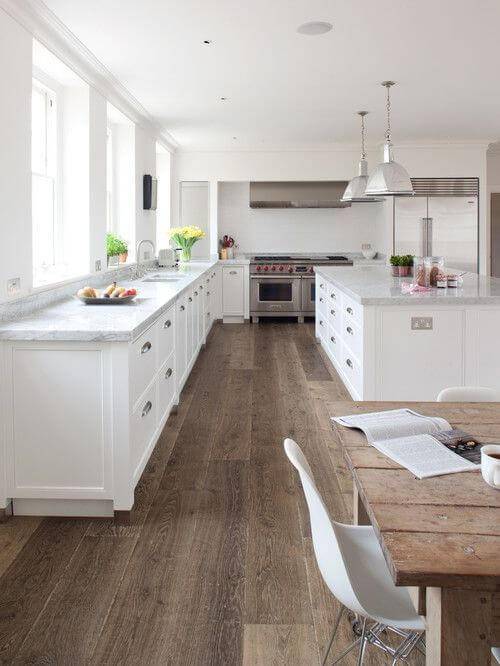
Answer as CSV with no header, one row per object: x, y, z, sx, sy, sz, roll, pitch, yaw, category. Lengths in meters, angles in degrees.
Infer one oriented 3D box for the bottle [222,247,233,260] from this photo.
-0.340,-1.204,7.887,0.162,0.167,0.167,0,8,-2,bottle

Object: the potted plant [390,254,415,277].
1.401,-0.629,4.779,0.204,0.165,0.208,0,12,4,potted plant

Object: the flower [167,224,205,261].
-0.761,-1.034,6.058,0.348,0.385,0.507,-2,7,-9,flower

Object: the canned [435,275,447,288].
1.345,-0.364,3.658,0.078,0.091,0.064,1,2,3,canned

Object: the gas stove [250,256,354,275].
0.709,-1.020,7.806,1.420,0.279,0.697,0,7,3,gas stove

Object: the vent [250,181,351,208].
0.712,-2.071,7.754,1.438,0.385,0.108,0,7,6,vent

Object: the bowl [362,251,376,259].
1.835,-1.218,8.057,0.217,0.144,0.256,0,7,3,bowl
